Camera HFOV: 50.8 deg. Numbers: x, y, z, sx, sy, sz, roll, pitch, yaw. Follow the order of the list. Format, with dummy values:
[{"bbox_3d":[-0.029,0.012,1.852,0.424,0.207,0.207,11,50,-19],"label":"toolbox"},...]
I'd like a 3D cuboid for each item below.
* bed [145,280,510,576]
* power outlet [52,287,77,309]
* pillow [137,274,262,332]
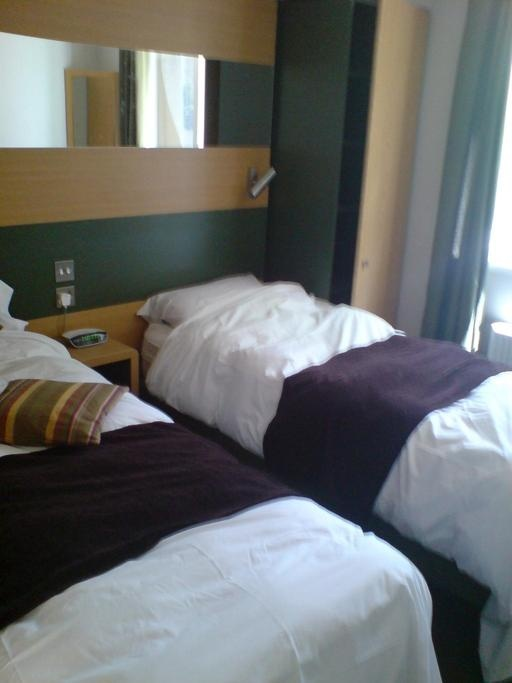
[{"bbox_3d":[0.248,0.172,2.297,0.855,0.464,1.411,-14,31,-41],"label":"bed"},{"bbox_3d":[-0.950,-0.221,2.656,0.027,0.094,0.085,11,15,36],"label":"power outlet"},{"bbox_3d":[-0.318,-0.260,2.998,0.389,0.109,0.388,-26,34,-33],"label":"pillow"}]
